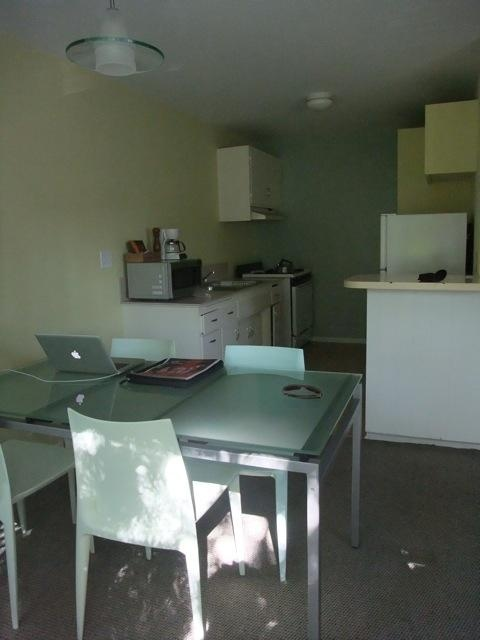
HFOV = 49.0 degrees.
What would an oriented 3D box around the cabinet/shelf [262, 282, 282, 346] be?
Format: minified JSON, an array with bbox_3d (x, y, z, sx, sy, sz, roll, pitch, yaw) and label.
[{"bbox_3d":[0.322,-0.040,4.987,0.121,0.632,0.470,0,9,8],"label":"cabinet/shelf"}]

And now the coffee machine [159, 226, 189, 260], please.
[{"bbox_3d":[-0.465,-0.534,3.711,0.178,0.208,0.209,2,9,17],"label":"coffee machine"}]

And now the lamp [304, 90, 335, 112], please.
[{"bbox_3d":[0.615,-1.695,4.078,0.224,0.061,0.369,0,8,7],"label":"lamp"}]

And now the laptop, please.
[{"bbox_3d":[-0.587,0.109,2.086,0.340,0.179,0.312,-2,15,8],"label":"laptop"}]

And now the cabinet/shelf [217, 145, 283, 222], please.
[{"bbox_3d":[0.160,-1.301,5.315,0.497,0.642,0.933,1,9,20],"label":"cabinet/shelf"}]

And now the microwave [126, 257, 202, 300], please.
[{"bbox_3d":[-0.531,-0.357,3.499,0.294,0.223,0.462,3,12,15],"label":"microwave"}]
